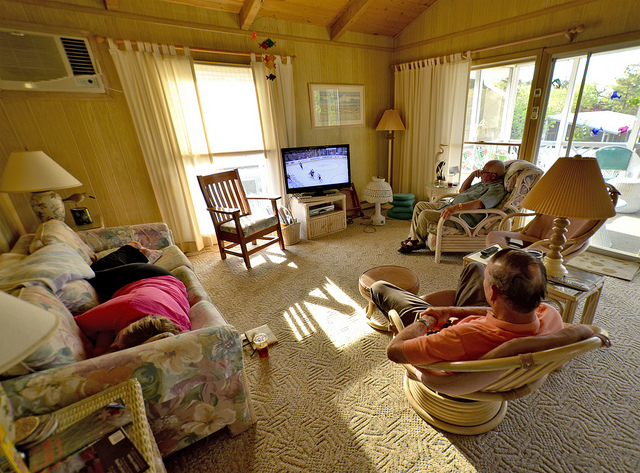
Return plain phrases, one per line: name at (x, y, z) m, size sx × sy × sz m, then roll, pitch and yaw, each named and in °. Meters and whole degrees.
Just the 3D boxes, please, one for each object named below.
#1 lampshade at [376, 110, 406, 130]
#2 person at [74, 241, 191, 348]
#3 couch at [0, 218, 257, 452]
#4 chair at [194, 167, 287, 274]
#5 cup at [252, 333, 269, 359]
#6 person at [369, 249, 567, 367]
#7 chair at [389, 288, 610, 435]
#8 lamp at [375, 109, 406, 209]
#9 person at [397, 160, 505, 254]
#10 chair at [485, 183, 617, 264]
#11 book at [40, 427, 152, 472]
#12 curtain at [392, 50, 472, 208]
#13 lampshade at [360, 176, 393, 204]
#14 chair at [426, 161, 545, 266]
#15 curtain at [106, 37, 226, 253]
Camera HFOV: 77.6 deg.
lampshade at (1.006, -1.671, 5.663) m, size 0.335 × 0.314 × 0.324 m, roll 6°, pitch 26°, yaw 18°
person at (-1.312, 0.411, 2.857) m, size 0.356 × 0.421 × 0.988 m, roll -32°, pitch 19°, yaw -12°
couch at (-1.401, 0.645, 2.931) m, size 1.307 × 1.341 × 1.538 m, roll -14°, pitch 20°, yaw -22°
chair at (-0.873, -0.233, 4.552) m, size 0.630 × 0.898 × 0.706 m, roll 10°, pitch 26°, yaw 32°
cup at (-0.474, 0.895, 3.216) m, size 0.137 × 0.143 × 0.120 m, roll -15°, pitch 21°, yaw -35°
person at (0.955, 0.479, 2.558) m, size 0.675 × 0.871 × 0.623 m, roll -2°, pitch 49°, yaw -8°
chair at (1.012, 0.756, 2.688) m, size 0.982 × 0.764 × 1.110 m, roll -8°, pitch 25°, yaw -11°
lamp at (1.070, -1.191, 5.971) m, size 0.438 × 1.287 × 0.431 m, roll -6°, pitch 18°, yaw -12°
person at (1.451, -0.326, 4.382) m, size 1.032 × 1.062 × 0.837 m, roll 1°, pitch 19°, yaw -4°
chair at (1.977, -0.127, 3.329) m, size 0.836 × 0.696 × 0.619 m, roll 2°, pitch 10°, yaw -12°
book at (-1.133, 1.132, 2.049) m, size 0.508 × 0.142 × 0.178 m, roll -8°, pitch 18°, yaw -9°
curtain at (1.540, -1.432, 5.580) m, size 0.209 × 1.947 × 1.184 m, roll -20°, pitch 23°, yaw -33°
lampshade at (0.762, -0.640, 5.309) m, size 0.365 × 0.260 × 0.342 m, roll -6°, pitch 21°, yaw -17°
chair at (1.538, -0.269, 4.159) m, size 1.199 × 0.982 × 0.801 m, roll -1°, pitch 25°, yaw 11°
curtain at (-1.617, -0.939, 4.505) m, size 0.808 × 2.368 × 0.105 m, roll -16°, pitch 22°, yaw -24°
